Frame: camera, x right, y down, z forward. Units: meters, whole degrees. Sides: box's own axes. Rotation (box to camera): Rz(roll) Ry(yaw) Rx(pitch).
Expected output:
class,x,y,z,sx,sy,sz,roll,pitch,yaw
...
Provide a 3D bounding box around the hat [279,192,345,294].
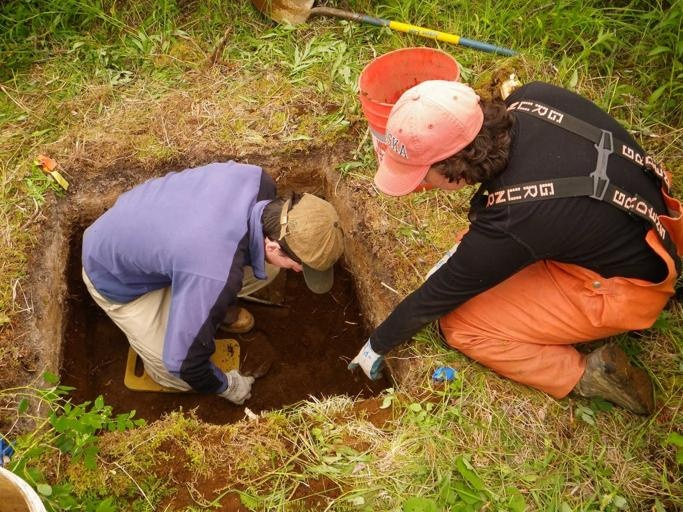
class,x,y,z,sx,sy,sz,roll,pitch,yaw
hat,-0.144,-0.095,3.394,0.288,0.381,0.530,-20,94,40

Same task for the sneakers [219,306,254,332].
class,x,y,z,sx,sy,sz,roll,pitch,yaw
sneakers,-0.737,0.449,4.261,0.249,0.091,0.140,6,52,10
